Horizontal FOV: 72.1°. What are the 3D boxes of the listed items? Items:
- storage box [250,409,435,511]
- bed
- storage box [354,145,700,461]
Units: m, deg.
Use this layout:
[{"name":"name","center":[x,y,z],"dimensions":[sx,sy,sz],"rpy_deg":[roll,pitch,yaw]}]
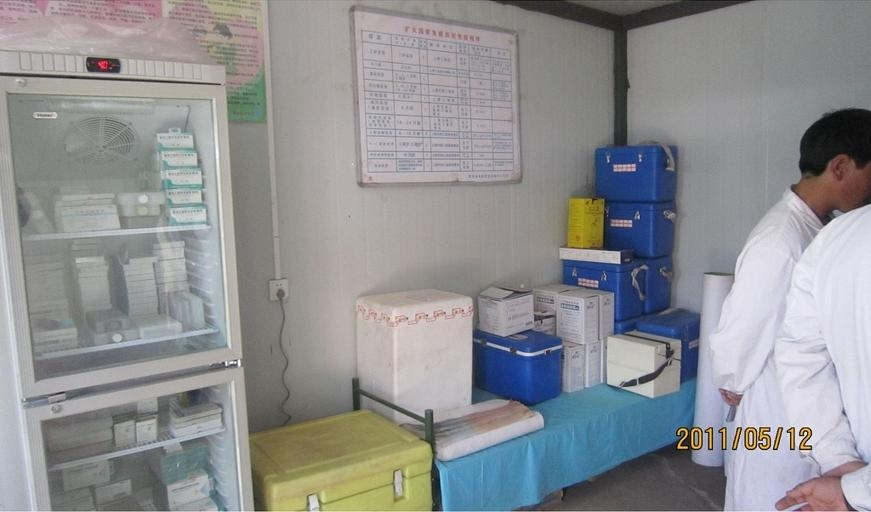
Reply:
[{"name":"storage box","center":[-0.579,1.143,3.325],"dimensions":[0.679,0.289,0.641],"rpy_deg":[-4,6,-38]},{"name":"bed","center":[0.837,1.235,3.794],"dimensions":[1.716,0.293,0.853],"rpy_deg":[-8,14,-35]},{"name":"storage box","center":[0.158,0.049,4.805],"dimensions":[2.890,2.374,1.739],"rpy_deg":[-10,15,-33]}]
